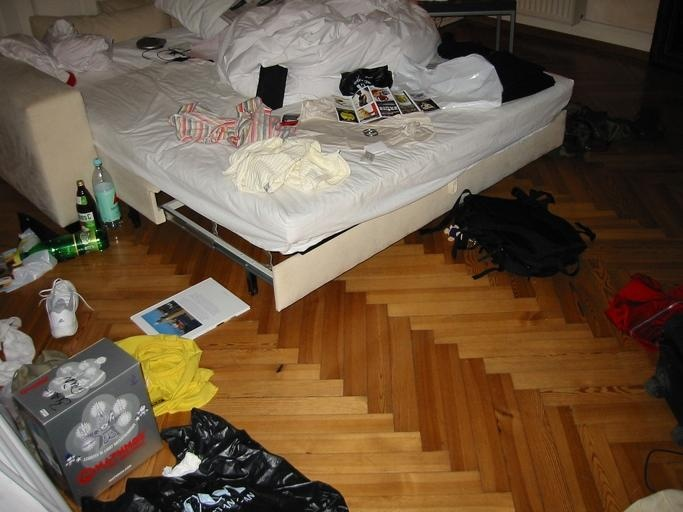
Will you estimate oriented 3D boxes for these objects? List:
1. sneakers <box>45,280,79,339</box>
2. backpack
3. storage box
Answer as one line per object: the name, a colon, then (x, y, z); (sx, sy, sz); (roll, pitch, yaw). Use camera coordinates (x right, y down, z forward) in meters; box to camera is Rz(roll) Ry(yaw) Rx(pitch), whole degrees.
sneakers: (-1.259, 0.218, 2.226); (0.123, 0.115, 0.314); (-16, 54, -11)
backpack: (0.885, -0.021, 2.584); (0.545, 0.186, 0.540); (-31, 50, -34)
storage box: (-0.846, 0.571, 1.636); (0.201, 0.372, 0.330); (13, 25, 32)
